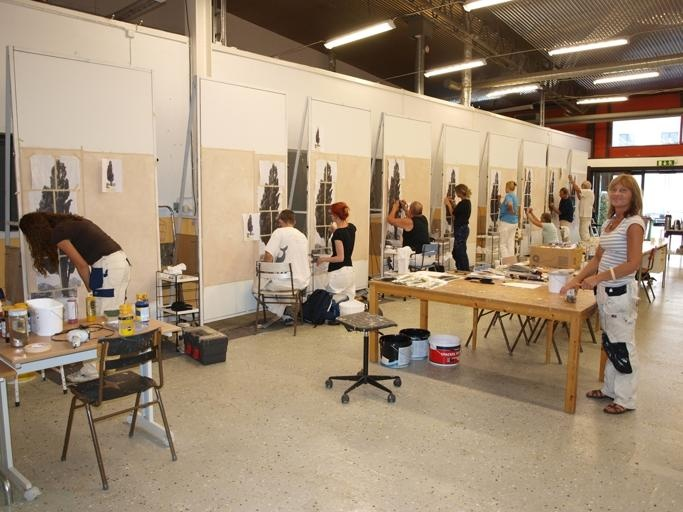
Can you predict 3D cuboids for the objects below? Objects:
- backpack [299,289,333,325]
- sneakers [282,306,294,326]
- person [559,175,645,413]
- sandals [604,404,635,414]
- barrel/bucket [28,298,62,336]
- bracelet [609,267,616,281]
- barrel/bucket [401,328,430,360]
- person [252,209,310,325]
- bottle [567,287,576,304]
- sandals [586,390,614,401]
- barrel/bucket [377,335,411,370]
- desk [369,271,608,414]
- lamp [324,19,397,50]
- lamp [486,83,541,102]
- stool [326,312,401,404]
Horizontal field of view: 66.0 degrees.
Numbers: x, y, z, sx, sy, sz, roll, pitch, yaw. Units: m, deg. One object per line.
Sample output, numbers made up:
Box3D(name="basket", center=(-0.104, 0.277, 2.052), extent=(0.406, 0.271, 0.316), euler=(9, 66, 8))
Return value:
Box3D(name="backpack", center=(-0.373, 0.726, 7.451), extent=(0.202, 0.475, 0.460), euler=(21, -2, -39))
Box3D(name="sneakers", center=(-0.791, 0.870, 7.577), extent=(0.195, 0.255, 0.600), euler=(-2, -7, -2))
Box3D(name="person", center=(2.536, 0.365, 4.937), extent=(0.548, 2.230, 0.524), euler=(-3, 15, -14))
Box3D(name="sandals", center=(2.657, 1.462, 5.035), extent=(0.253, 0.062, 0.111), euler=(0, 2, -20))
Box3D(name="barrel/bucket", center=(-2.399, 0.501, 4.362), extent=(0.311, 0.271, 0.243), euler=(4, 5, 35))
Box3D(name="bracelet", center=(2.446, 0.168, 4.734), extent=(0.061, 0.116, 0.043), euler=(4, 15, 13))
Box3D(name="barrel/bucket", center=(0.864, 1.011, 6.258), extent=(0.316, 0.284, 0.315), euler=(0, 11, 0))
Box3D(name="person", center=(-0.792, -0.050, 7.054), extent=(0.691, 1.066, 0.487), euler=(-2, 15, -9))
Box3D(name="bottle", center=(2.211, 0.386, 5.061), extent=(0.074, 0.133, 0.129), euler=(-2, 11, 2))
Box3D(name="sandals", center=(2.593, 1.400, 5.269), extent=(0.232, 0.066, 0.094), euler=(2, 6, 14))
Box3D(name="barrel/bucket", center=(0.618, 1.074, 6.021), extent=(0.347, 0.266, 0.351), euler=(-1, 6, 0))
Box3D(name="desk", center=(1.646, 0.570, 5.533), extent=(1.620, 0.727, 1.582), euler=(5, 9, 34))
Box3D(name="lamp", center=(0.348, -4.675, 10.990), extent=(0.226, 0.157, 1.381), euler=(19, -11, -33))
Box3D(name="lamp", center=(5.045, -4.807, 15.359), extent=(0.223, 0.128, 1.114), euler=(-33, 18, -34))
Box3D(name="stool", center=(0.262, 1.000, 5.458), extent=(0.835, 0.776, 0.813), euler=(-9, 12, -39))
